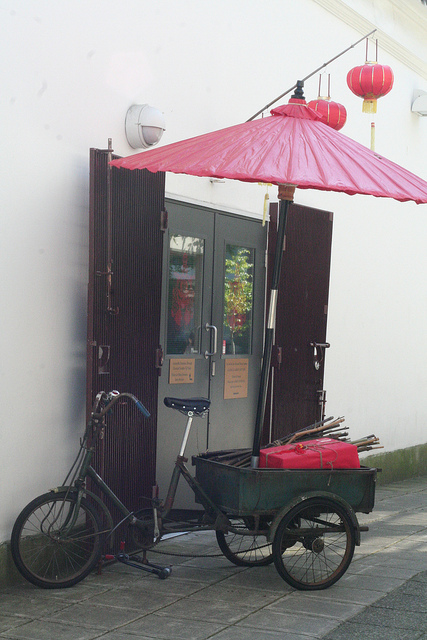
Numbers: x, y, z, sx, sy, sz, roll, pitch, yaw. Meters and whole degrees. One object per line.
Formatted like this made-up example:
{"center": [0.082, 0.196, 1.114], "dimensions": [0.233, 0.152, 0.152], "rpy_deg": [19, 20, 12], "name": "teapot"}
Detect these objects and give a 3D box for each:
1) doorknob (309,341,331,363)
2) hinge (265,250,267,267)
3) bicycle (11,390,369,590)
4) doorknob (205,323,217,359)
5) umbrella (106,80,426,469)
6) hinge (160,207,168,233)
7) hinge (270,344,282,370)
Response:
{"center": [0.801, 0.237, 6.899], "dimensions": [0.164, 0.151, 0.060], "rpy_deg": [1, 8, -20], "name": "doorknob"}
{"center": [0.375, -0.437, 6.424], "dimensions": [0.009, 0.095, 0.043], "rpy_deg": [1, -1, -13], "name": "hinge"}
{"center": [-0.233, 0.846, 4.736], "dimensions": [1.878, 1.119, 0.846], "rpy_deg": [3, -5, -8], "name": "bicycle"}
{"center": [-0.001, 0.134, 5.924], "dimensions": [0.055, 0.192, 0.153], "rpy_deg": [1, -1, 22], "name": "doorknob"}
{"center": [0.382, -0.431, 4.932], "dimensions": [1.733, 2.257, 1.755], "rpy_deg": [3, 21, 1], "name": "umbrella"}
{"center": [-0.289, -0.573, 5.244], "dimensions": [0.014, 0.114, 0.069], "rpy_deg": [1, -1, 21], "name": "hinge"}
{"center": [0.443, 0.258, 6.419], "dimensions": [0.042, 0.141, 0.170], "rpy_deg": [1, -1, 22], "name": "hinge"}
